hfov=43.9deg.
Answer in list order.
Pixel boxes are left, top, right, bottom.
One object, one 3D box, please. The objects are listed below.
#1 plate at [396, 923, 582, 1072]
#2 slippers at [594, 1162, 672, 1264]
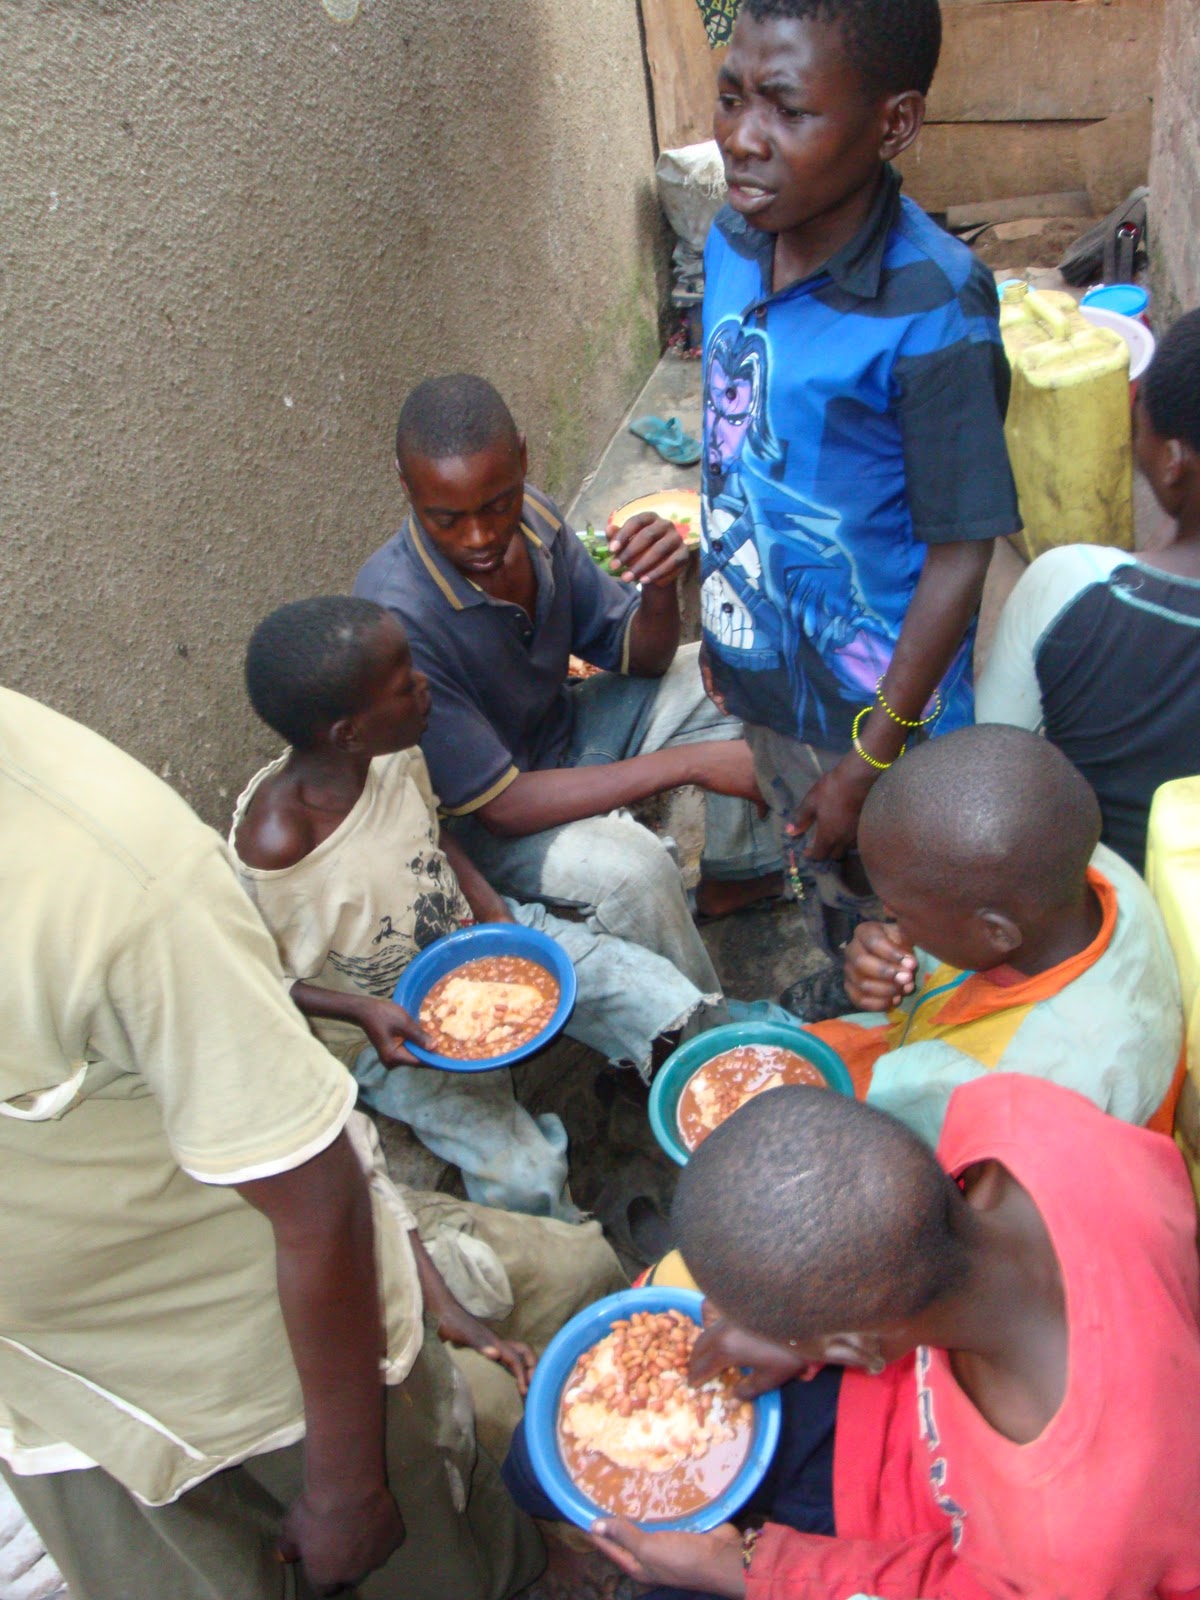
[{"bbox_3d":[-0.225,0.413,2.999,0.319,0.079,0.325,10,39,11],"label":"plate"},{"bbox_3d":[0.079,0.867,3.273,0.153,0.195,0.065,-20,-14,26],"label":"slippers"}]
